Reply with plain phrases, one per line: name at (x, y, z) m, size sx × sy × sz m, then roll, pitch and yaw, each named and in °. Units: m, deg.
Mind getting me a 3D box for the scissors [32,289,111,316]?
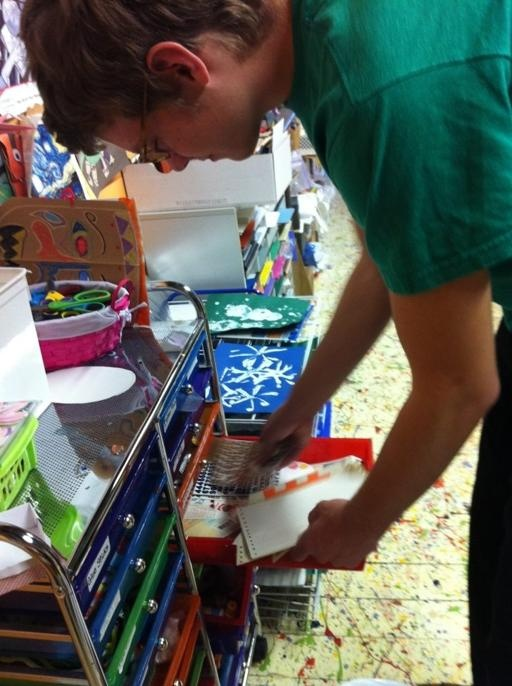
scissors at (-0.394, -0.085, 1.035) m, size 0.125 × 0.040 × 0.079 m, roll -16°, pitch 28°, yaw -23°
